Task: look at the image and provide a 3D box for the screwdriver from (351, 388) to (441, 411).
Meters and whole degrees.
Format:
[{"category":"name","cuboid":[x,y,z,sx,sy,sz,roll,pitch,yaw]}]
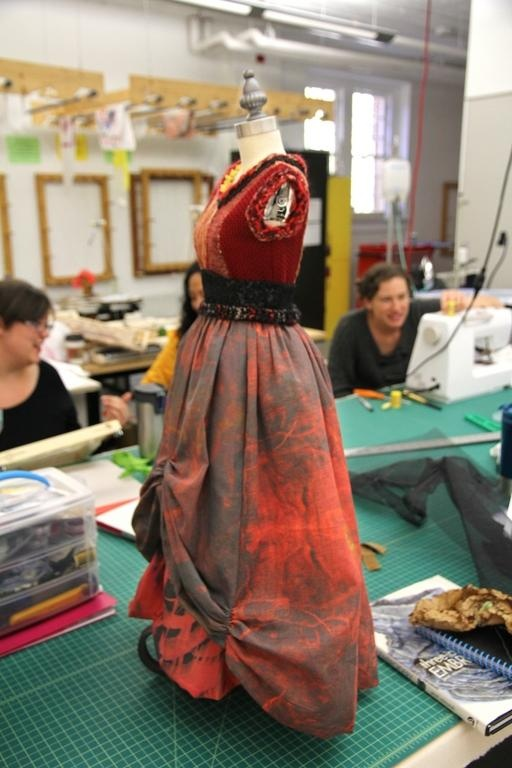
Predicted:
[{"category":"screwdriver","cuboid":[0.355,0.015,1.481,0.069,0.032,0.186,-7,14,-33]}]
